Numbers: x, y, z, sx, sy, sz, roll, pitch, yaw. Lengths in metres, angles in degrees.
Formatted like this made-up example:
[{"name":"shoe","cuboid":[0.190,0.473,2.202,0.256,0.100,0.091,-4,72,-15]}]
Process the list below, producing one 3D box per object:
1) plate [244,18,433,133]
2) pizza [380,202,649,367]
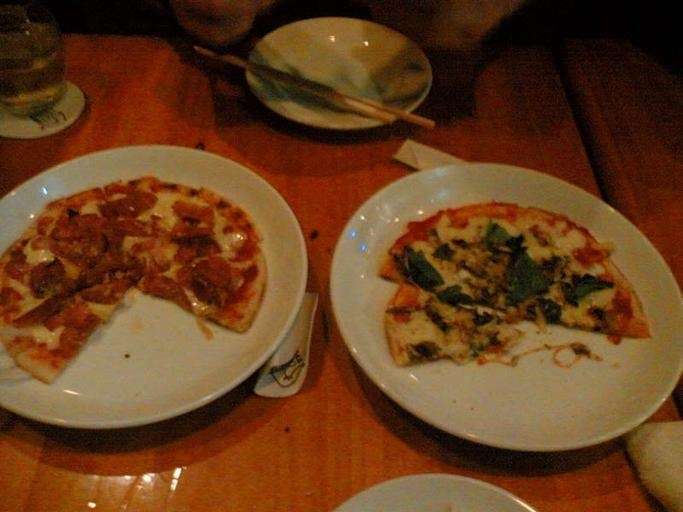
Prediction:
[{"name":"plate","cuboid":[0.000,-0.617,2.021,0.486,0.100,0.467,-14,54,-18]},{"name":"pizza","cuboid":[0.390,0.056,1.890,0.724,0.384,0.674,2,36,-1]}]
